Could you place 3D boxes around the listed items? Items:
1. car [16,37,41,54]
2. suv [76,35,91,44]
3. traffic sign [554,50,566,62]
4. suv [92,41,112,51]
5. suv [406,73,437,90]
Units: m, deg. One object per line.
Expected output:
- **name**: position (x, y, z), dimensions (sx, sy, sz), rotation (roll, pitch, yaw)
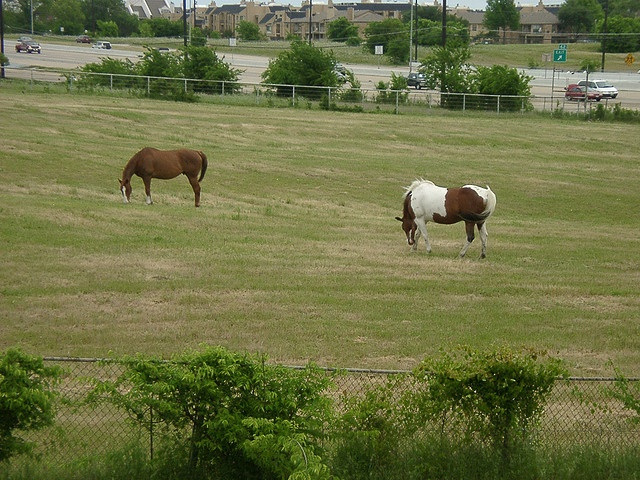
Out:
- **car**: position (-29.288, -18.958, 118.398), dimensions (1.490, 1.199, 3.204), rotation (-6, 14, -36)
- **suv**: position (-28.536, -23.461, 143.193), dimensions (1.200, 0.940, 2.554), rotation (-8, 27, -22)
- **traffic sign**: position (24.036, -18.192, 119.607), dimensions (0.035, 1.308, 1.834), rotation (6, 18, 39)
- **suv**: position (-24.476, -21.289, 132.835), dimensions (2.362, 1.073, 1.487), rotation (17, 22, 32)
- **suv**: position (8.648, -13.672, 104.625), dimensions (1.539, 1.189, 3.463), rotation (-5, 12, -18)
